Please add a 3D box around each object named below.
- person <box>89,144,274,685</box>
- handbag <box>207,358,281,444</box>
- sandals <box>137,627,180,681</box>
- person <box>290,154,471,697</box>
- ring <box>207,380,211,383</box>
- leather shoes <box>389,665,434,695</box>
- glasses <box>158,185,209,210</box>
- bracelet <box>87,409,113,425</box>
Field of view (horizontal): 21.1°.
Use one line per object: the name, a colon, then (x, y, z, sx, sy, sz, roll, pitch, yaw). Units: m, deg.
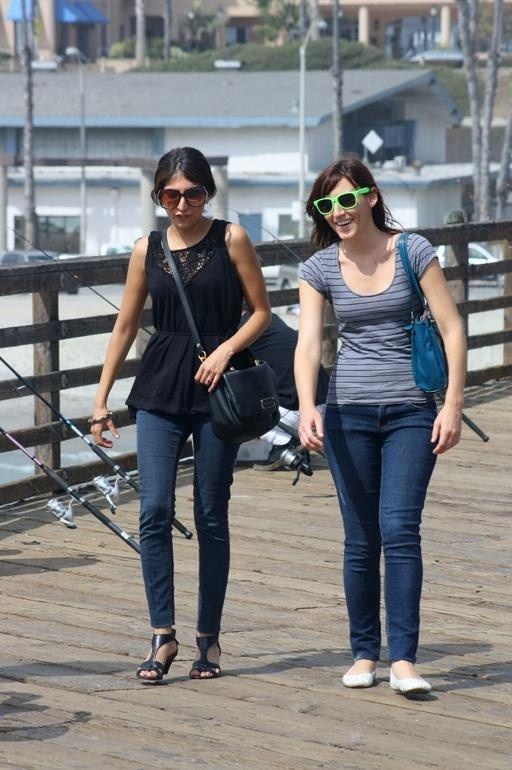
person: (-0.170, 0.059, 3.388, 0.415, 1.285, 0.406, -1, 7, -14)
handbag: (-0.024, 0.045, 3.366, 0.107, 0.185, 0.249, 4, 8, 24)
sandals: (-0.230, 0.653, 3.275, 0.058, 0.073, 0.161, -5, 1, 14)
person: (0.275, 0.074, 3.287, 0.564, 1.131, 0.583, 7, 17, 10)
ring: (-0.112, -0.009, 3.278, 0.008, 0.007, 0.002, 2, 3, -24)
leather shoes: (0.356, 0.687, 3.158, 0.047, 0.046, 0.122, 5, -9, -23)
glasses: (-0.175, -0.456, 3.346, 0.117, 0.058, 0.085, 0, 7, -4)
bracelet: (-0.403, 0.086, 3.554, 0.049, 0.018, 0.035, -17, 1, 4)
